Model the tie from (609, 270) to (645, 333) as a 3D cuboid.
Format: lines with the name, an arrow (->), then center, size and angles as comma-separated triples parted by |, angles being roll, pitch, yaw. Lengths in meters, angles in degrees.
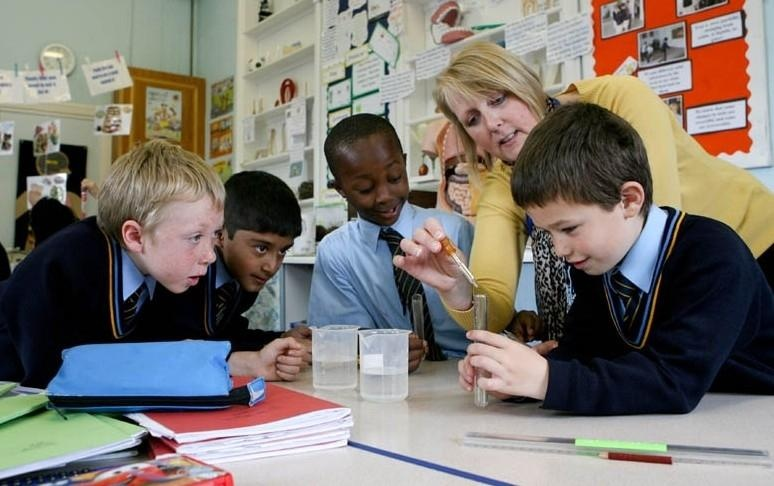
tie -> 0.681, 0.159, 1.793 | 0.039, 0.157, 0.094 | -20, 9, -43

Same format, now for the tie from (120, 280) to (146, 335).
tie -> -0.797, 0.203, 2.018 | 0.033, 0.132, 0.081 | 18, 18, 17

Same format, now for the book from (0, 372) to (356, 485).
book -> -0.348, 0.438, 1.553 | 0.506, 0.090, 0.248 | -6, 13, -22

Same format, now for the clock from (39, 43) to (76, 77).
clock -> -2.931, -1.618, 5.690 | 0.071, 0.293, 0.309 | 7, 7, 33

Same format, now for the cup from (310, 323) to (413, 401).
cup -> -0.065, 0.326, 1.803 | 0.259, 0.157, 0.185 | -2, -3, 41

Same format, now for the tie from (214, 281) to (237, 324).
tie -> -0.593, 0.226, 2.386 | 0.032, 0.117, 0.120 | 20, 5, 15
